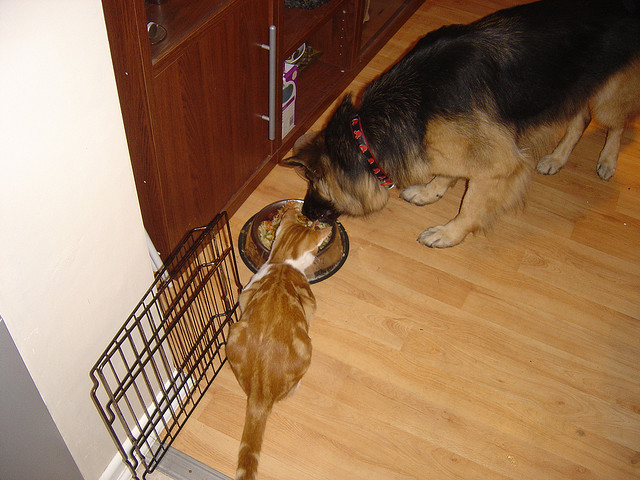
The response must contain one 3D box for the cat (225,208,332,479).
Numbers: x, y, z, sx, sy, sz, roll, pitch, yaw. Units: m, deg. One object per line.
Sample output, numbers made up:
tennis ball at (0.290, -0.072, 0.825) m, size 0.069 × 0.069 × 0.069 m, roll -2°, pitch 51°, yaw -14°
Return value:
cat at (-0.150, 0.330, 2.094) m, size 0.326 × 0.439 × 1.088 m, roll 9°, pitch 78°, yaw 5°
